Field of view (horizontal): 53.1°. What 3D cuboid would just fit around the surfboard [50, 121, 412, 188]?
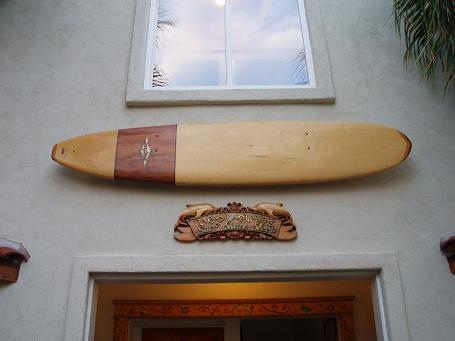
[{"bbox_3d":[0.061,-0.096,3.368,3.019,0.606,0.253,1,-20,1],"label":"surfboard"}]
